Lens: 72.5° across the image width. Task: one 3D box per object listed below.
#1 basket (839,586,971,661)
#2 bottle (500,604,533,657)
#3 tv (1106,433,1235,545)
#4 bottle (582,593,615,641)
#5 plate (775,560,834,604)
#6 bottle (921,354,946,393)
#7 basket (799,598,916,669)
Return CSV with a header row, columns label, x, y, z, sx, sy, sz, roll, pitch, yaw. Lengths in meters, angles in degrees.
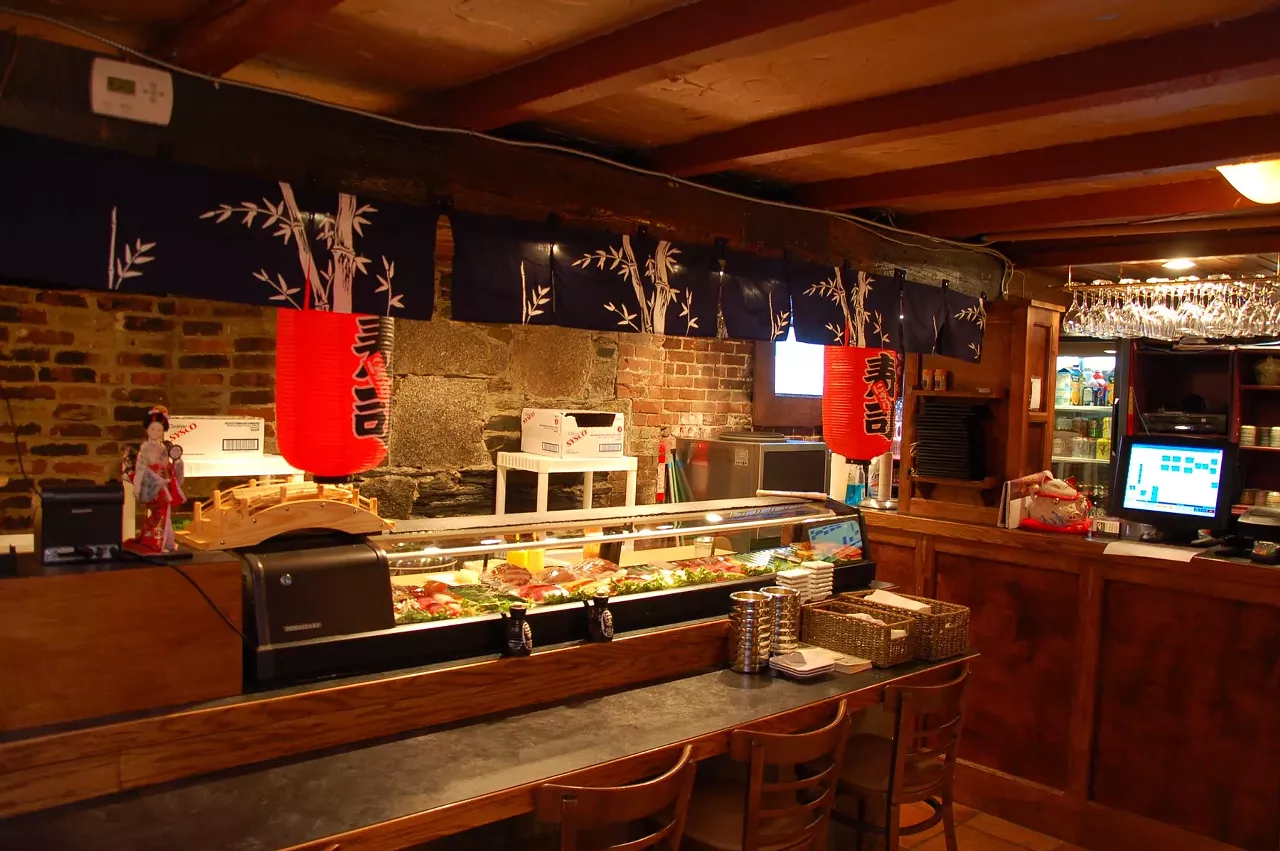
label,x,y,z,sx,sy,sz,roll,pitch,yaw
basket,1.341,0.983,4.392,0.332,0.189,0.558,-2,1,-29
bottle,-0.502,0.829,3.560,0.119,0.198,0.137,1,3,-8
tv,3.106,0.393,5.110,0.368,0.598,0.686,8,-4,-39
bottle,-0.183,0.823,3.720,0.125,0.191,0.085,1,3,-4
plate,0.865,0.800,4.513,0.155,0.183,0.437,3,3,43
bottle,1.950,-0.348,5.777,0.181,0.252,0.158,1,3,-3
basket,1.089,0.994,4.159,0.325,0.163,0.445,0,3,-42
